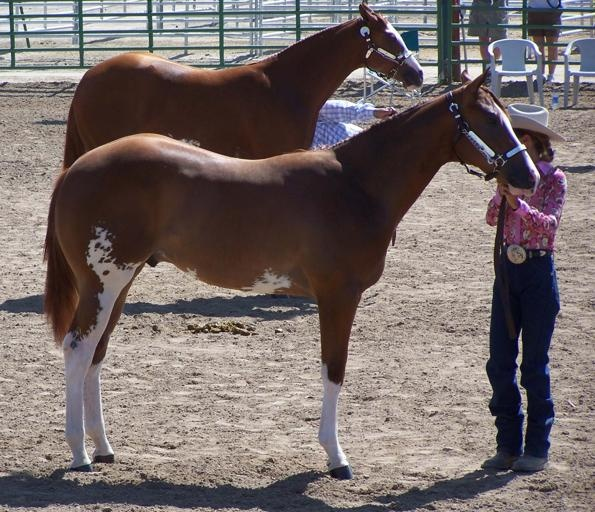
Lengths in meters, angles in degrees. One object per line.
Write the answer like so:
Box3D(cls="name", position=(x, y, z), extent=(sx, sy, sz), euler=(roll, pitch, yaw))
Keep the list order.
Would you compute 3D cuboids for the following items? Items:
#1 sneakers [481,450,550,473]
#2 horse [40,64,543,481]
Box3D(cls="sneakers", position=(1.567, 1.493, 9.810), extent=(0.470, 0.170, 0.162), euler=(4, 9, 4))
Box3D(cls="horse", position=(-0.100, 0.216, 10.491), extent=(3.919, 2.813, 1.062), euler=(1, -1, 3))
